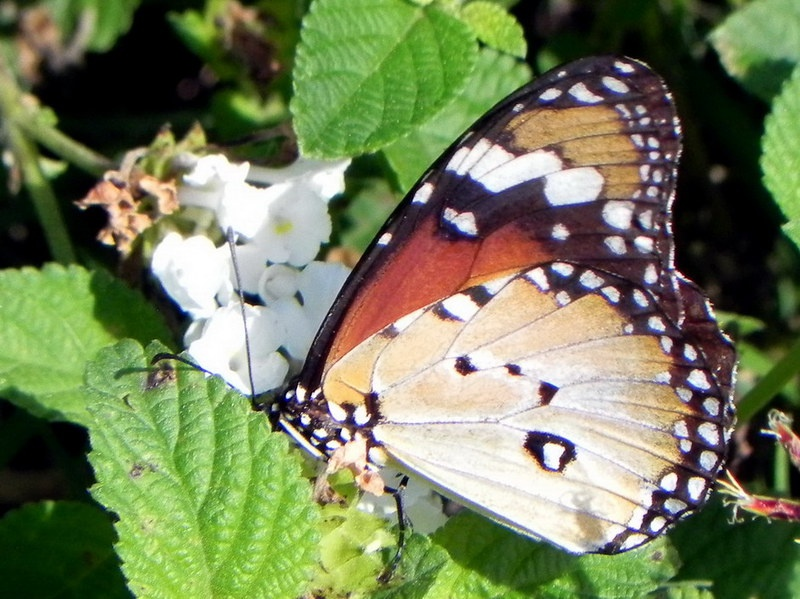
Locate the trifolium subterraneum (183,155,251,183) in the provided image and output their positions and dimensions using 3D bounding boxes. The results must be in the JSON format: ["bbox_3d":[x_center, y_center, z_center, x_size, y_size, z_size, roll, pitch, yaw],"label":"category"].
[{"bbox_3d":[-0.518,-0.370,2.839,0.117,0.116,0.045,5,107,3],"label":"trifolium subterraneum"}]

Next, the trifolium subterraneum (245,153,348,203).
[{"bbox_3d":[-0.303,-0.396,2.977,0.185,0.221,0.163,24,120,42],"label":"trifolium subterraneum"}]

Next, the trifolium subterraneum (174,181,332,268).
[{"bbox_3d":[-0.363,-0.230,2.933,0.276,0.100,0.223,44,78,-19],"label":"trifolium subterraneum"}]

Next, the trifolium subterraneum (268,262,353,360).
[{"bbox_3d":[-0.264,0.032,2.891,0.243,0.115,0.264,3,85,11],"label":"trifolium subterraneum"}]

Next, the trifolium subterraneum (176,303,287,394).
[{"bbox_3d":[-0.450,0.104,2.841,0.263,0.283,0.253,-7,112,-21],"label":"trifolium subterraneum"}]

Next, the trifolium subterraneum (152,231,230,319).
[{"bbox_3d":[-0.559,-0.066,2.772,0.227,0.092,0.207,45,100,9],"label":"trifolium subterraneum"}]
